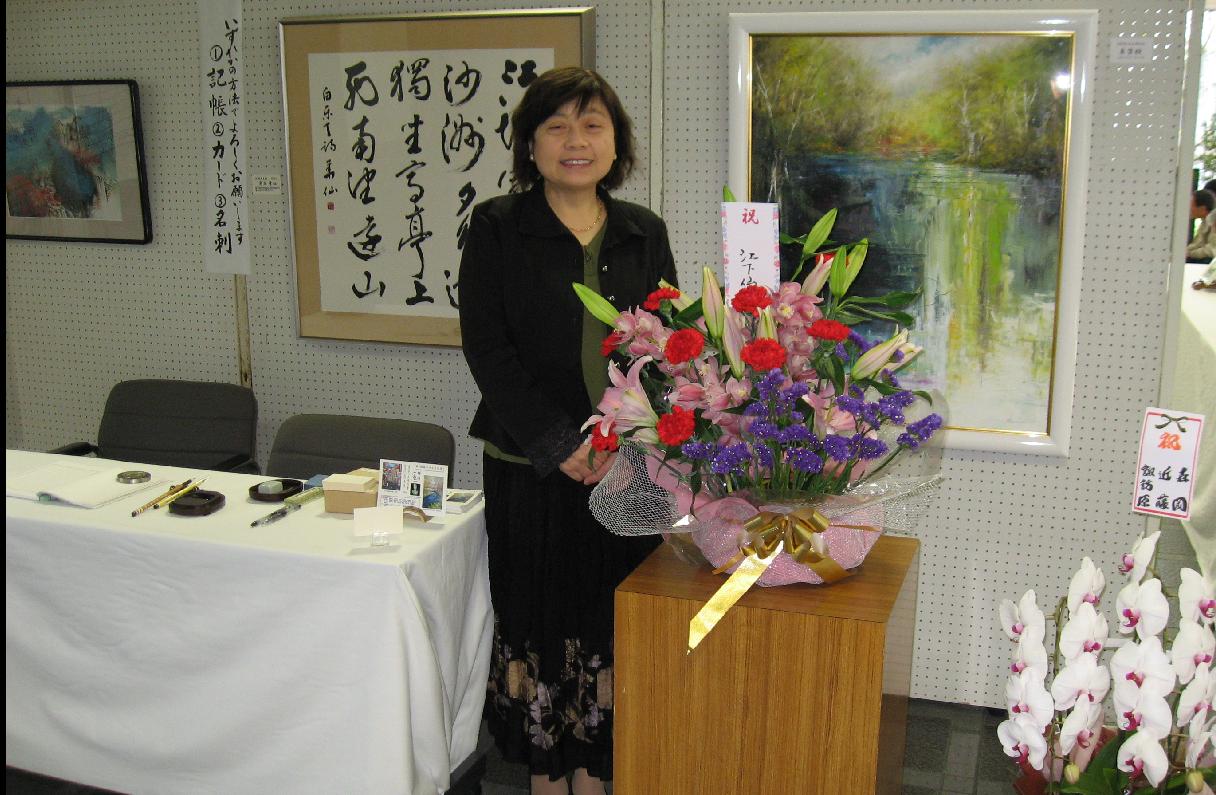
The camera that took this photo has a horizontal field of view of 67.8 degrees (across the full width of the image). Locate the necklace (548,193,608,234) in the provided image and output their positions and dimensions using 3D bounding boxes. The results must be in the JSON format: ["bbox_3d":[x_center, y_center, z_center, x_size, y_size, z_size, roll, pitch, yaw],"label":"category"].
[{"bbox_3d":[-0.097,-0.538,2.653,0.115,0.059,0.155,5,4,0],"label":"necklace"}]

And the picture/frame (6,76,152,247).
[{"bbox_3d":[-2.384,-1.047,4.013,0.769,0.709,0.082,3,8,13],"label":"picture/frame"}]

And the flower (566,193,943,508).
[{"bbox_3d":[0.352,-0.059,2.031,0.496,0.565,0.529,1,-2,-23],"label":"flower"}]

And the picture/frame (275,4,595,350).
[{"bbox_3d":[-0.616,-0.865,3.292,1.359,1.371,0.056,3,12,13],"label":"picture/frame"}]
